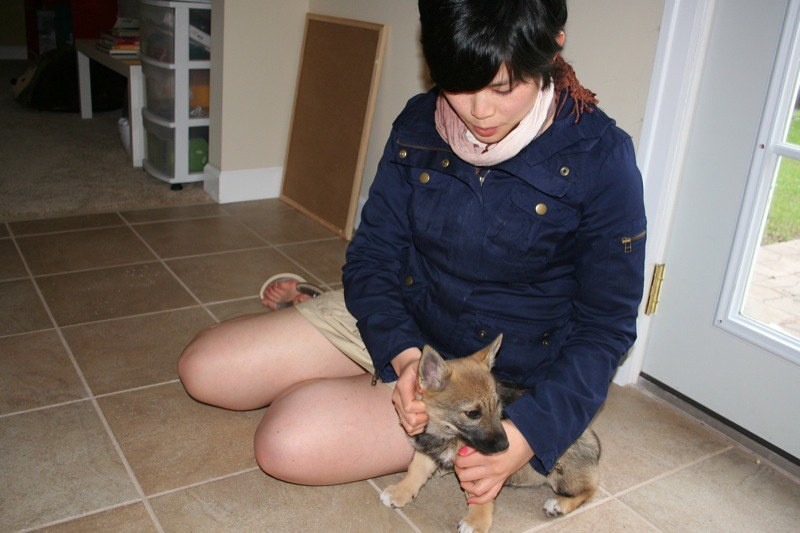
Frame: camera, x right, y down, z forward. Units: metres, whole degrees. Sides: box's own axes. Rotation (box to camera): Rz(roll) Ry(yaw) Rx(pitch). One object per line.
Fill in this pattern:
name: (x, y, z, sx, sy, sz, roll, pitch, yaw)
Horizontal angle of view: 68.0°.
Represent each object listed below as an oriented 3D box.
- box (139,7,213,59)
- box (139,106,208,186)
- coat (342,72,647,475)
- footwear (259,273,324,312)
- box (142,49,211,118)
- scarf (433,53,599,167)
box: (-1.866, -1.898, 5.048, 0.494, 0.516, 0.523, 5, 18, 6)
box: (-2.038, -1.083, 5.405, 0.574, 0.784, 0.782, -6, 40, -21)
coat: (0.375, 0.070, 2.306, 1.169, 1.298, 0.901, 26, 49, 22)
footwear: (-0.621, 0.142, 3.419, 0.349, 0.213, 0.130, 2, 9, 1)
box: (-1.932, -1.535, 5.065, 0.527, 0.353, 0.540, -5, 20, -25)
scarf: (0.428, -0.562, 2.202, 0.586, 0.400, 0.257, 10, 31, 0)
